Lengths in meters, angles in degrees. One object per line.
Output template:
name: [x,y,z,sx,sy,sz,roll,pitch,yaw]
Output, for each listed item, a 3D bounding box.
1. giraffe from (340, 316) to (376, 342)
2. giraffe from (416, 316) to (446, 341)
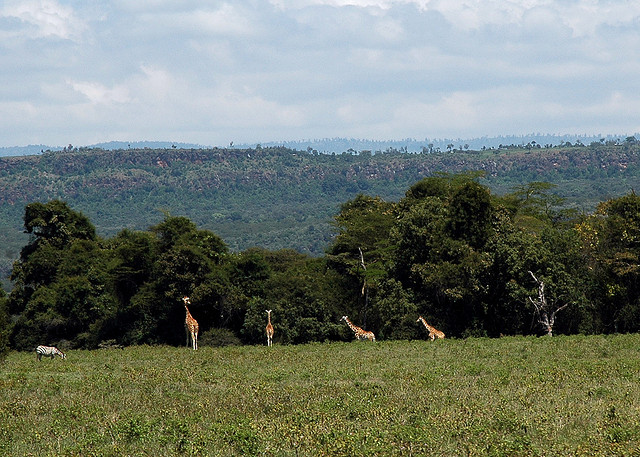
giraffe: [2.785,6.992,62.651,1.283,1.467,3.733,-6,10,-23]
giraffe: [7.373,6.505,59.956,1.443,1.322,2.945,-3,9,-9]
